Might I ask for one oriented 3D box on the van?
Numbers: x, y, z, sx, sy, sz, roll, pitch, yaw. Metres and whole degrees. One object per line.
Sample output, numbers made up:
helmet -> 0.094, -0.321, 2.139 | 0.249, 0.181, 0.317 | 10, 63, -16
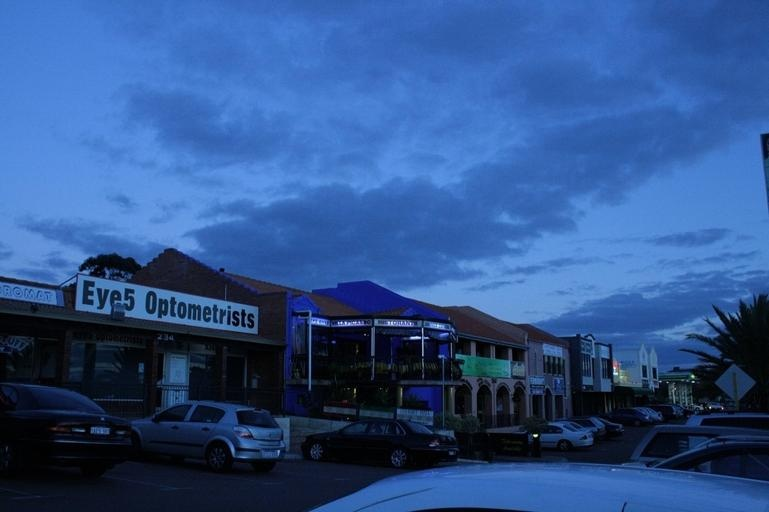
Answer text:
van -> 5.860, 3.575, 14.026 | 2.038, 0.899, 1.236 | -10, -12, 27
